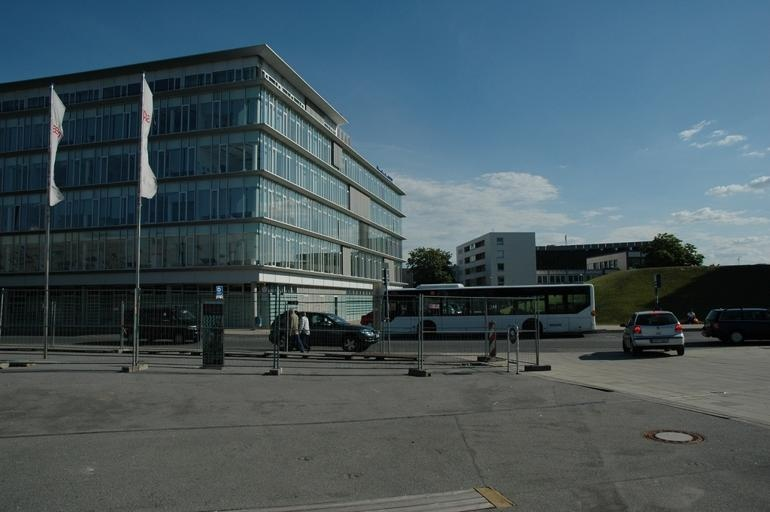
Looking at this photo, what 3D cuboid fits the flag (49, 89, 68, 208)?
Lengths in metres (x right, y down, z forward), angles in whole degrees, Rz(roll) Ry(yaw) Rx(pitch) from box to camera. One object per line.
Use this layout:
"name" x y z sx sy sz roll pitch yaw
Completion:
"flag" -12.289 -4.293 24.909 0.585 4.731 3.258 -2 4 -24

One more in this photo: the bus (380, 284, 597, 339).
"bus" 4.719 2.346 28.242 9.674 2.565 2.738 -1 -5 7

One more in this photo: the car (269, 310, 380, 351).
"car" -2.264 2.982 25.694 4.010 1.428 1.744 -1 -5 -3

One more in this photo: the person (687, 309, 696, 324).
"person" 22.380 4.475 48.601 0.536 0.907 1.560 1 3 22

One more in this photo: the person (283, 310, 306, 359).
"person" -3.299 2.700 24.534 0.686 1.572 0.744 -1 4 -10

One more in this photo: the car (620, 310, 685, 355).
"car" 10.543 2.983 25.918 1.853 1.722 0.678 0 4 2
